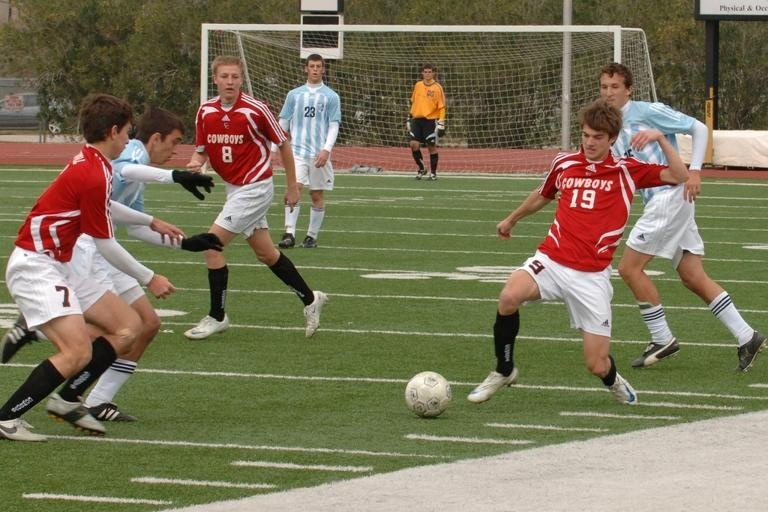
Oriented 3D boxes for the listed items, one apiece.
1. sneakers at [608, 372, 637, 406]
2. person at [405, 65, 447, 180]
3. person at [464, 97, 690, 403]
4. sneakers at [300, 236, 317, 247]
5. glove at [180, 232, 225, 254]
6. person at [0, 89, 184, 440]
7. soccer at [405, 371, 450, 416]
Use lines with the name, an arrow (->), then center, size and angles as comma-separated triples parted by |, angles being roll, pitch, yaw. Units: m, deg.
sneakers -> 1.708, 0.978, 7.816 | 0.122, 0.272, 0.091 | -31, -15, -51
person -> 0.875, -2.864, 23.550 | 0.764, 2.477, 1.435 | 0, 11, 1
person -> 1.386, -0.016, 7.753 | 1.240, 2.136, 0.771 | 2, 12, 12
sneakers -> -1.020, -0.178, 14.334 | 0.122, 0.113, 0.193 | -4, -10, 31
glove -> -1.241, -0.084, 7.356 | 0.249, 0.083, 0.127 | -7, 15, -32
person -> -2.014, 0.060, 7.064 | 1.146, 2.207, 0.717 | -5, 12, -23
soccer -> 0.261, 0.980, 7.601 | 0.361, 0.290, 0.299 | 0, -17, -12
